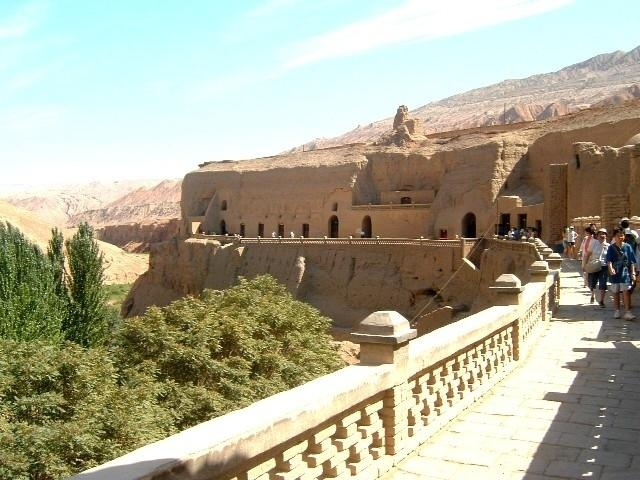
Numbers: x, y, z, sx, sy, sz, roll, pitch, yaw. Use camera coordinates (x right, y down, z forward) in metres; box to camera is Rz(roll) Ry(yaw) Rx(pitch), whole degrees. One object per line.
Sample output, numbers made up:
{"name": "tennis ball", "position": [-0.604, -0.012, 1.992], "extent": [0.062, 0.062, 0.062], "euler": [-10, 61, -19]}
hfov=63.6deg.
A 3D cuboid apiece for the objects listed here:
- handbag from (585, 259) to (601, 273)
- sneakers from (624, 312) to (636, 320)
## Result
{"name": "handbag", "position": [5.617, 0.533, 10.615], "extent": [0.152, 0.194, 0.335], "euler": [-9, -8, -26]}
{"name": "sneakers", "position": [5.846, 1.433, 9.747], "extent": [0.181, 0.180, 0.311], "euler": [-4, 2, 25]}
